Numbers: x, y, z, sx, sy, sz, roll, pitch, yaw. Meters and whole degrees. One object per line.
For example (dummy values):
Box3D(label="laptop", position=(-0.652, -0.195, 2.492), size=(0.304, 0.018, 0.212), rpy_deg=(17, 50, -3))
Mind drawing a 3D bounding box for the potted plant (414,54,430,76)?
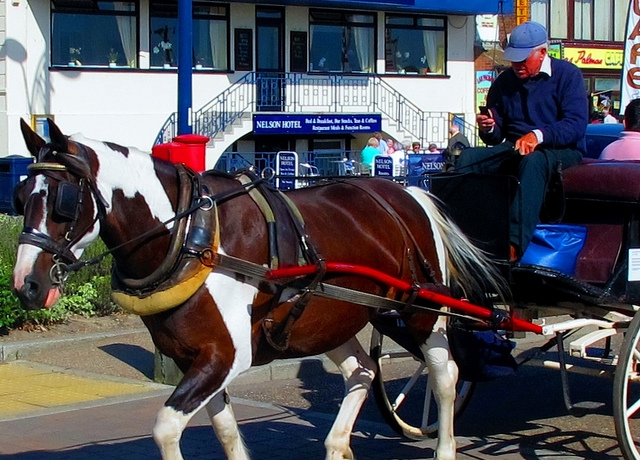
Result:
Box3D(label="potted plant", position=(3.324, -5.481, 31.281), size=(0.514, 0.619, 0.218), rpy_deg=(0, 7, -3))

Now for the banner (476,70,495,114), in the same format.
Box3D(label="banner", position=(5.476, -4.800, 31.916), size=(0.549, 1.187, 1.033), rpy_deg=(4, 8, 28))

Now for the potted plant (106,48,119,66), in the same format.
Box3D(label="potted plant", position=(-6.035, -4.975, 27.321), size=(0.153, 0.485, 0.304), rpy_deg=(6, 10, 39))

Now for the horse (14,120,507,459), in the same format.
Box3D(label="horse", position=(-0.590, 0.622, 7.755), size=(3.681, 2.931, 0.897), rpy_deg=(-4, 8, -28))

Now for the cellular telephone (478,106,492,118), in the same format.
Box3D(label="cellular telephone", position=(1.623, -1.165, 9.358), size=(0.119, 0.109, 0.188), rpy_deg=(1, 7, 7))

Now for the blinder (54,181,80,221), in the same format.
Box3D(label="blinder", position=(-1.872, -0.216, 6.975), size=(0.065, 0.236, 0.240), rpy_deg=(2, -9, 42))

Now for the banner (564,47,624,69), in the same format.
Box3D(label="banner", position=(10.205, -6.405, 35.403), size=(2.391, 0.769, 0.594), rpy_deg=(-3, 8, -26))

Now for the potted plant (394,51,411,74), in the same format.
Box3D(label="potted plant", position=(2.661, -5.514, 31.137), size=(0.547, 0.691, 0.222), rpy_deg=(-6, 10, -41))

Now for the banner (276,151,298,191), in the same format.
Box3D(label="banner", position=(-0.720, -1.189, 19.643), size=(0.479, 0.901, 0.094), rpy_deg=(1, -12, -5))

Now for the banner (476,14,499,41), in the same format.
Box3D(label="banner", position=(5.628, -6.934, 32.378), size=(0.879, 0.886, 0.067), rpy_deg=(-3, -6, -32))
